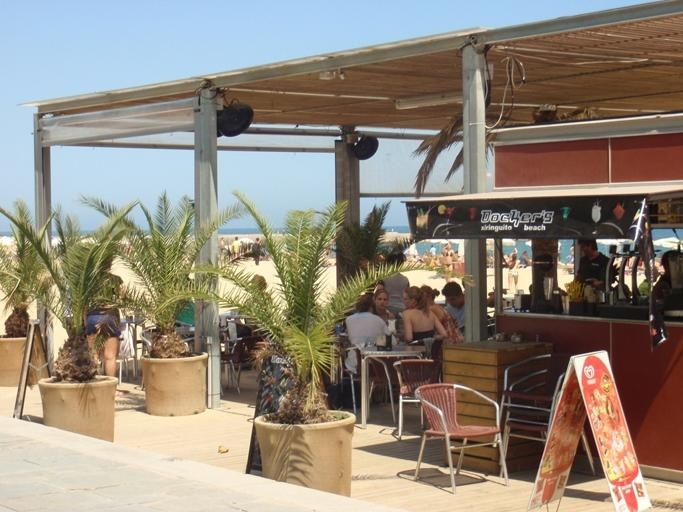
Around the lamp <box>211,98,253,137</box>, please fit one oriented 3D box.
[{"bbox_3d":[-1.580,-1.975,12.844,0.502,0.479,0.359,-7,4,-20],"label":"lamp"}]

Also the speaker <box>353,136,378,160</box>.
[{"bbox_3d":[0.478,-2.122,17.665,0.385,0.455,0.533,3,-2,-37],"label":"speaker"}]

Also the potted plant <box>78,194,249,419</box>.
[{"bbox_3d":[-2.181,0.572,11.898,2.712,3.555,2.561,0,-2,-8],"label":"potted plant"}]

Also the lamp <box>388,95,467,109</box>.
[{"bbox_3d":[1.326,-2.389,13.755,0.326,0.177,1.481,3,-2,-38],"label":"lamp"}]

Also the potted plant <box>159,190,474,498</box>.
[{"bbox_3d":[-0.311,0.856,9.401,2.372,2.848,2.345,2,-5,-37],"label":"potted plant"}]

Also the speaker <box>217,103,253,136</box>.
[{"bbox_3d":[-1.559,-1.958,12.780,0.478,0.456,0.343,-8,3,-17],"label":"speaker"}]
